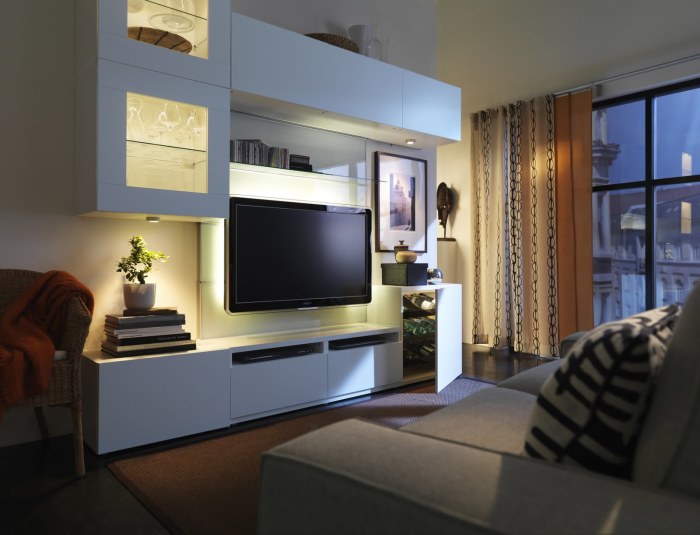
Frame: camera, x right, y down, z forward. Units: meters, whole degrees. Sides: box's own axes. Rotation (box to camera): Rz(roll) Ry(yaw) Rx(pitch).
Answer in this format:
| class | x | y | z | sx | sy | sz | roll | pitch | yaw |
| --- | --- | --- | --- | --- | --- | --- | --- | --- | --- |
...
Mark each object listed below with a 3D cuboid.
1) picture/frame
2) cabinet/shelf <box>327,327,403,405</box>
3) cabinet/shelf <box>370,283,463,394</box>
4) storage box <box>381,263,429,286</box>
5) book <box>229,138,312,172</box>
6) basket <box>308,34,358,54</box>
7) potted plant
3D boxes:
| class | x | y | z | sx | sy | sz | roll | pitch | yaw |
| --- | --- | --- | --- | --- | --- | --- | --- | --- | --- |
| picture/frame | 0.414 | -0.569 | 4.473 | 0.071 | 1.158 | 0.829 | -2 | -1 | 42 |
| cabinet/shelf | 0.095 | 0.700 | 3.807 | 0.697 | 0.482 | 0.359 | -1 | -1 | -43 |
| cabinet/shelf | 0.595 | 0.454 | 4.410 | 0.871 | 0.881 | 0.687 | 0 | -1 | -44 |
| storage box | 0.427 | 0.057 | 4.212 | 0.212 | 0.144 | 0.217 | -1 | -2 | 40 |
| book | -0.546 | -0.759 | 3.579 | 0.200 | 0.194 | 0.736 | 7 | 8 | 42 |
| basket | -0.103 | -1.589 | 3.743 | 0.228 | 0.091 | 0.227 | -2 | 6 | -26 |
| potted plant | -1.234 | 0.035 | 3.109 | 0.280 | 0.444 | 0.328 | -1 | 6 | -24 |
